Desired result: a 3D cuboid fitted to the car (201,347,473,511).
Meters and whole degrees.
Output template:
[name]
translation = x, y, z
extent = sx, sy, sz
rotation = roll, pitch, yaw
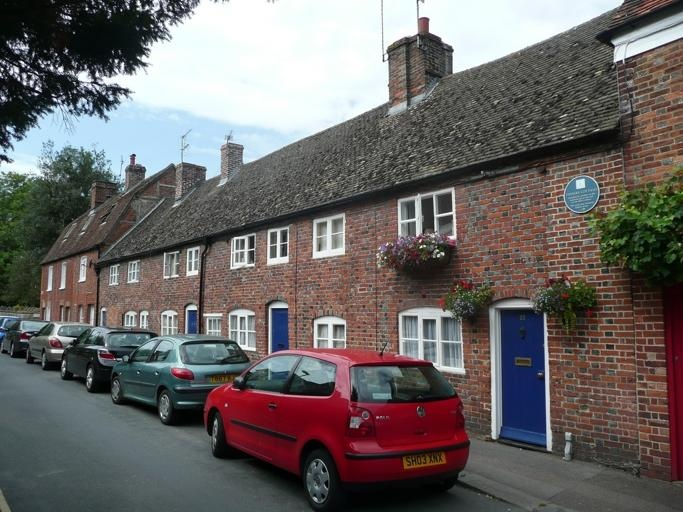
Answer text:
[car]
translation = -0.242, 2.461, 9.197
extent = 1.992, 1.459, 3.313
rotation = 8, -6, -38
